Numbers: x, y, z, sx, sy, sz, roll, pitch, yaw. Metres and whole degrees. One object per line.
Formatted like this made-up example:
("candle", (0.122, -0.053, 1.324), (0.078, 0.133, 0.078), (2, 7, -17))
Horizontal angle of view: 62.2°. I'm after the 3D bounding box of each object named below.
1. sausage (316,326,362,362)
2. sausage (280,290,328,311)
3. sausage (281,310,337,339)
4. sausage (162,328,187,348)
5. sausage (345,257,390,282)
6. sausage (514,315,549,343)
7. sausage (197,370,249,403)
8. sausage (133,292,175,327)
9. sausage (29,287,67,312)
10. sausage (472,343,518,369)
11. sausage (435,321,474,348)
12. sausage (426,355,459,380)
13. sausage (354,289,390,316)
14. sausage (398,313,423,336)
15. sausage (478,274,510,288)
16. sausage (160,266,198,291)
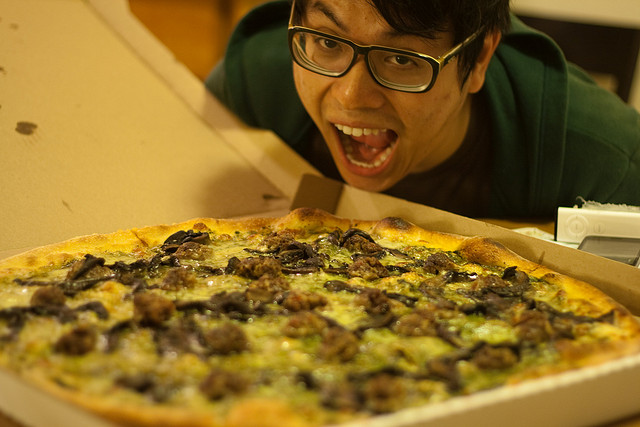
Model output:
("sausage", (0.105, 0.607, 2.424), (0.152, 0.039, 0.152), (40, 70, 7))
("sausage", (-0.081, 0.457, 2.773), (0.158, 0.063, 0.112), (-1, 4, -1))
("sausage", (-0.062, 0.540, 2.571), (0.182, 0.039, 0.133), (-6, 20, -25))
("sausage", (-0.674, 0.584, 2.486), (0.077, 0.015, 0.134), (-34, 43, -31))
("sausage", (0.286, 0.306, 3.162), (0.168, 0.054, 0.170), (13, 19, 35))
("sausage", (1.030, 0.564, 2.572), (0.148, 0.049, 0.155), (-1, 37, 10))
("sausage", (-0.415, 0.743, 2.279), (0.145, 0.053, 0.129), (1, 14, -9))
("sausage", (-0.809, 0.461, 2.570), (0.163, 0.063, 0.154), (24, 37, 10))
("sausage", (-1.356, 0.432, 2.647), (0.132, 0.038, 0.119), (6, 29, -1))
("sausage", (0.813, 0.671, 2.462), (0.199, 0.053, 0.127), (2, 37, 14))
("sausage", (0.644, 0.596, 2.605), (0.126, 0.031, 0.121), (-4, 32, -45))
("sausage", (0.559, 0.708, 2.438), (0.143, 0.037, 0.133), (-11, 36, -4))
("sausage", (0.277, 0.472, 2.775), (0.119, 0.057, 0.152), (12, -8, -6))
("sausage", (0.446, 0.547, 2.636), (0.083, 0.029, 0.106), (11, 39, 37))
("sausage", (1.009, 0.396, 3.068), (0.094, 0.026, 0.091), (19, 10, -3))
("sausage", (-0.777, 0.357, 2.893), (0.143, 0.046, 0.111), (6, 29, 18))
